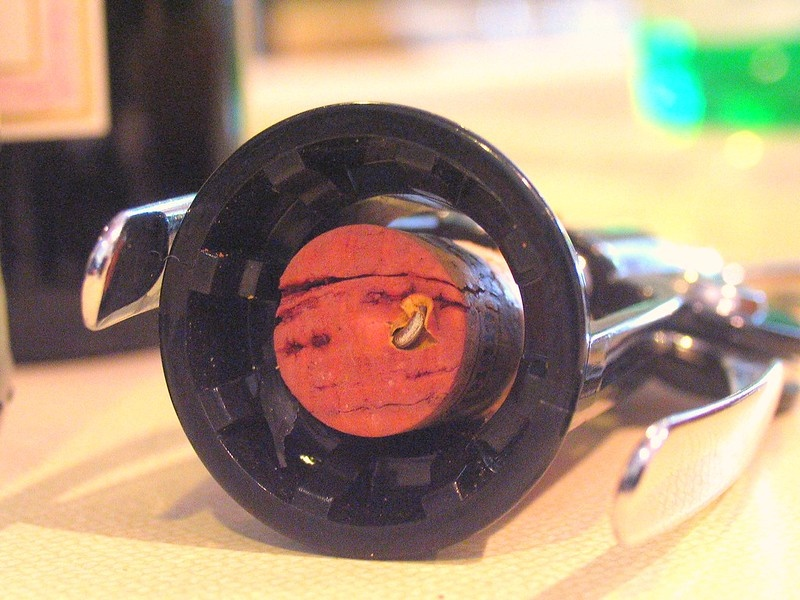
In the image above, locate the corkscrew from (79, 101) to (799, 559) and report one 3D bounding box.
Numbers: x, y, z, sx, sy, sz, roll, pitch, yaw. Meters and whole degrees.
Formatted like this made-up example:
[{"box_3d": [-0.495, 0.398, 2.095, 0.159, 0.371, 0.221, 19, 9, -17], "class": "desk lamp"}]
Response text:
[{"box_3d": [0.010, -0.004, 0.682, 0.253, 0.483, 0.199, 13, 88, 17], "class": "corkscrew"}]
